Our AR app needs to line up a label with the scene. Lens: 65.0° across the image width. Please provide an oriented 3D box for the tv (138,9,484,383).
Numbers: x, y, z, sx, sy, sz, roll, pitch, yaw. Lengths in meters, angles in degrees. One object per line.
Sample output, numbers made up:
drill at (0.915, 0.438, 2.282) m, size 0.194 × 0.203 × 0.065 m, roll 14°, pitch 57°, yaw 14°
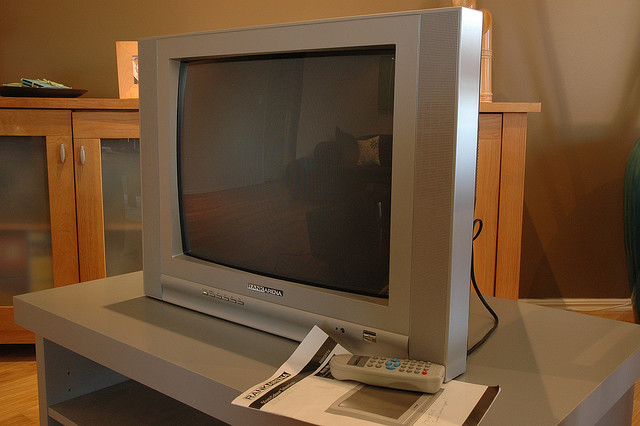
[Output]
tv at (-0.018, -0.034, 1.334) m, size 0.959 × 0.805 × 0.500 m, roll 5°, pitch 12°, yaw 27°

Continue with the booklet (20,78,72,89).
booklet at (-1.308, -0.622, 2.420) m, size 0.172 × 0.049 × 0.180 m, roll 1°, pitch 8°, yaw 0°

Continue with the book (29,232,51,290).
book at (-1.348, 0.229, 2.415) m, size 0.111 × 0.283 × 0.029 m, roll 2°, pitch 8°, yaw 9°
